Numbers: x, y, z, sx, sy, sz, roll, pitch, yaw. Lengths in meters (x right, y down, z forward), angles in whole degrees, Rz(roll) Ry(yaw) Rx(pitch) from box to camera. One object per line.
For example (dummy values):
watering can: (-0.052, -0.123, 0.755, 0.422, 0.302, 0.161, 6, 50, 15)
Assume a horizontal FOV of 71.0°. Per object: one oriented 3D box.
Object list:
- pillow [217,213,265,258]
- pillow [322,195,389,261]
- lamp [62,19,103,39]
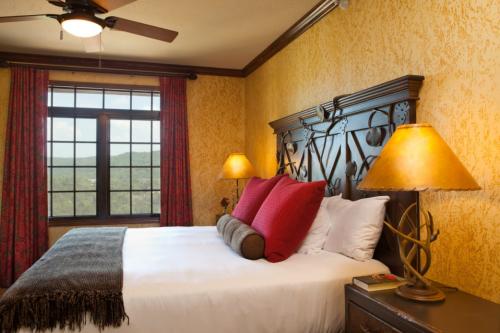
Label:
pillow: (-0.116, 0.647, 3.448, 0.277, 0.237, 0.943, -11, 7, -16)
pillow: (0.917, 0.553, 3.016, 0.199, 0.345, 0.517, 13, -11, -18)
lamp: (-1.486, -1.230, 3.123, 0.325, 0.081, 0.238, -1, -2, 16)
